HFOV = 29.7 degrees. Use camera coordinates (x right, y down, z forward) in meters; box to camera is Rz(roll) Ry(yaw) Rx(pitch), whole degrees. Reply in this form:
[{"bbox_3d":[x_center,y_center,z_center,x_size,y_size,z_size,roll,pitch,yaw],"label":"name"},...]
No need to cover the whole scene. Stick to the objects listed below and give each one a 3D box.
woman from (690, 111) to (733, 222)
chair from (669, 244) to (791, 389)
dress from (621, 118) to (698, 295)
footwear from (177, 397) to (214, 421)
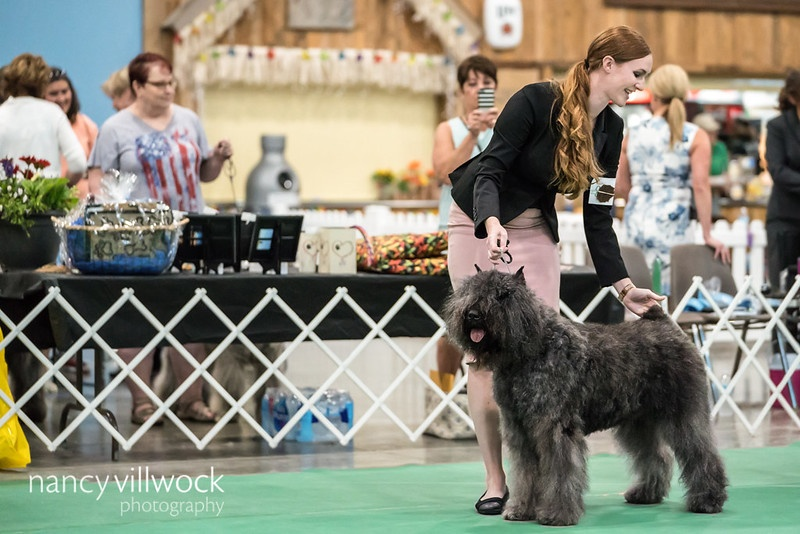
[{"bbox_3d":[3.862,-1.220,18.918,0.411,1.267,0.391,5,-3,7],"label":"woman"},{"bbox_3d":[3.004,0.317,13.112,0.902,1.576,1.136,1,-10,-17],"label":"chair"},{"bbox_3d":[2.320,-0.651,13.674,0.638,0.689,2.310,3,-46,9],"label":"dress"},{"bbox_3d":[-1.704,1.227,12.652,0.373,0.173,0.131,-4,-5,30],"label":"footwear"}]
